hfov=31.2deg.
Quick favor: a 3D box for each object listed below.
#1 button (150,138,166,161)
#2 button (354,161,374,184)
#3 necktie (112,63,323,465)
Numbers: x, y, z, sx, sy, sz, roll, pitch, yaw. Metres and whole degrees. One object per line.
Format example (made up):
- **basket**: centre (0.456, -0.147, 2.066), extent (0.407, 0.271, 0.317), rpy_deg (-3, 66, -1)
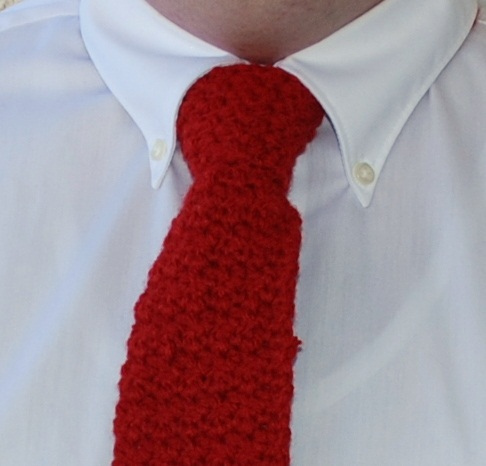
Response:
- **button**: centre (-0.088, -0.086, 0.901), extent (0.016, 0.023, 0.006), rpy_deg (3, -12, 44)
- **button**: centre (0.124, -0.062, 0.897), extent (0.018, 0.023, 0.005), rpy_deg (3, -12, -8)
- **necktie**: centre (-0.020, 0.025, 0.842), extent (0.177, 0.368, 0.144), rpy_deg (6, -32, -6)
